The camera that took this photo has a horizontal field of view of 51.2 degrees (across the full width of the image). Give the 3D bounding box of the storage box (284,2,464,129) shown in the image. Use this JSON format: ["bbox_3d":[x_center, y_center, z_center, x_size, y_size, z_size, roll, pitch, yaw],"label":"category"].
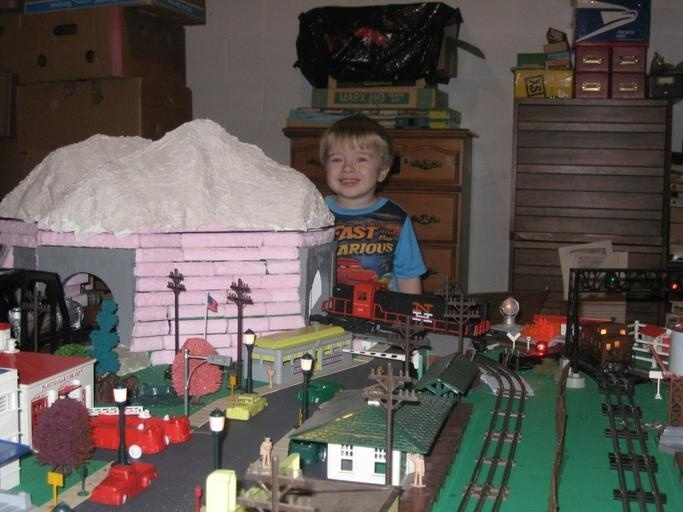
[{"bbox_3d":[0.445,-1.971,7.870,1.954,1.305,1.378,1,4,12],"label":"storage box"}]
